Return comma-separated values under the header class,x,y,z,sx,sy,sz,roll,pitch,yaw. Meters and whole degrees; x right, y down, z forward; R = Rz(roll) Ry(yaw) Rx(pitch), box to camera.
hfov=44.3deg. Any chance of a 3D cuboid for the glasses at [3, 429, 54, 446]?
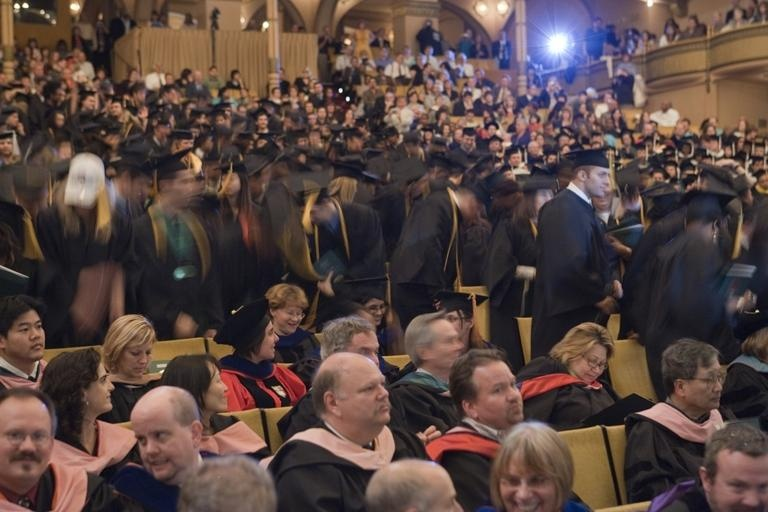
class,x,y,z,sx,sy,sz,roll,pitch,yaw
glasses,-2.535,1.298,6.708,0.320,0.099,0.054,1,3,-19
